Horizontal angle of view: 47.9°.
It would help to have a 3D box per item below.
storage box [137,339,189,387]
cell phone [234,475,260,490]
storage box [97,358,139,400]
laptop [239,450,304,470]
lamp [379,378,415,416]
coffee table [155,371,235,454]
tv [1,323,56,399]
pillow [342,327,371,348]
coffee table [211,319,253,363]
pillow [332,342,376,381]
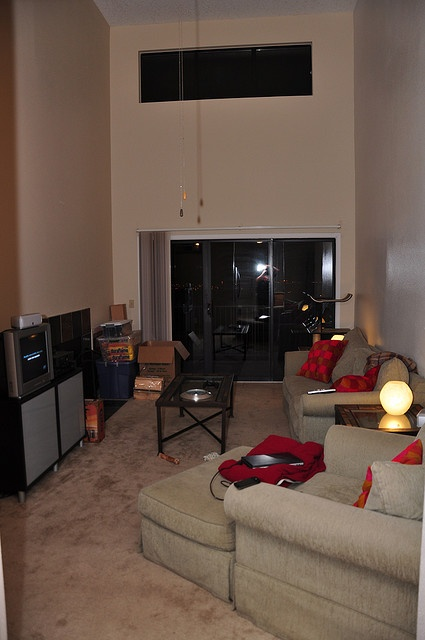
[{"bbox_3d":[-0.698,0.511,5.999,0.596,0.468,0.646,0,8,-8],"label":"storage box"},{"bbox_3d":[0.127,0.629,1.854,0.076,0.022,0.038,-3,3,-21],"label":"cell phone"},{"bbox_3d":[-1.157,0.717,5.717,0.361,0.370,0.471,0,-5,2],"label":"storage box"},{"bbox_3d":[0.281,0.687,2.343,0.290,0.044,0.417,2,-4,-13],"label":"laptop"},{"bbox_3d":[1.125,0.468,3.012,0.183,0.242,0.198,-3,7,-7],"label":"lamp"},{"bbox_3d":[-0.127,0.797,4.227,0.544,0.455,1.029,0,6,6],"label":"coffee table"},{"bbox_3d":[-1.229,0.279,3.150,0.239,0.472,0.473,-1,4,6],"label":"tv"},{"bbox_3d":[1.457,0.196,4.849,0.205,0.066,0.201,-7,26,-28],"label":"pillow"},{"bbox_3d":[0.267,0.256,6.752,0.426,0.390,0.707,2,10,5],"label":"coffee table"},{"bbox_3d":[1.259,0.377,4.300,0.097,0.368,0.345,19,-7,-8],"label":"pillow"}]
